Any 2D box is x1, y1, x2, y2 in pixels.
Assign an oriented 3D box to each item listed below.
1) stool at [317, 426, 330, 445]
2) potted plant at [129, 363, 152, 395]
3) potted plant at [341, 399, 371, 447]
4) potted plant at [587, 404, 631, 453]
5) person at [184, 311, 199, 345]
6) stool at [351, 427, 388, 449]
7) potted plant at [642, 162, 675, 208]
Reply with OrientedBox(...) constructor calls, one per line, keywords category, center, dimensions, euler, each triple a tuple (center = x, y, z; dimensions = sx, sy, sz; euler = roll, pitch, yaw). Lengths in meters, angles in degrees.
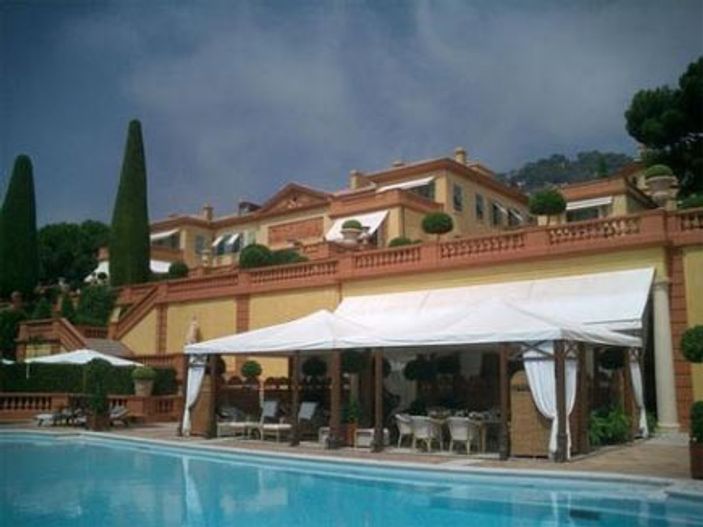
OrientedBox(category="stool", center=(-1.114, 6.759, 33.907), dimensions=(0.558, 0.763, 0.563), euler=(5, -12, -34))
OrientedBox(category="potted plant", center=(-9.901, 5.554, 41.624), dimensions=(1.141, 1.697, 1.236), euler=(-1, -12, -2))
OrientedBox(category="potted plant", center=(0.121, 6.276, 34.542), dimensions=(1.320, 2.124, 1.373), euler=(0, -13, 1))
OrientedBox(category="potted plant", center=(9.673, 6.160, 32.812), dimensions=(1.381, 1.183, 1.467), euler=(-5, -6, 29))
OrientedBox(category="person", center=(-8.262, 3.340, 45.698), dimensions=(0.677, 1.723, 1.013), euler=(2, -16, -11))
OrientedBox(category="stool", center=(0.573, 6.621, 33.394), dimensions=(0.881, 0.581, 0.947), euler=(-1, -6, 15))
OrientedBox(category="potted plant", center=(13.141, -3.333, 37.278), dimensions=(1.164, 2.143, 1.203), euler=(12, -21, -33))
